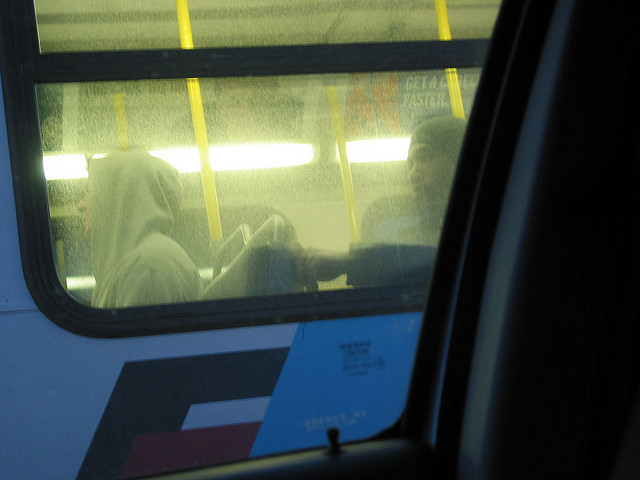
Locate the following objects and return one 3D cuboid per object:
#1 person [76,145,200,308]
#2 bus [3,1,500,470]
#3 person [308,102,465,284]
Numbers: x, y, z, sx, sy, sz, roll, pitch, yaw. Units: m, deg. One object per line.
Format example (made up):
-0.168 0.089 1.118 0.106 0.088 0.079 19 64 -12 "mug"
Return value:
-0.834 -0.097 3.353 0.506 0.967 0.655 -5 -1 -23 "person"
-0.368 0.034 2.863 1.622 1.655 0.662 0 1 -21 "bus"
0.279 -0.223 3.121 0.173 0.788 0.518 17 9 41 "person"
